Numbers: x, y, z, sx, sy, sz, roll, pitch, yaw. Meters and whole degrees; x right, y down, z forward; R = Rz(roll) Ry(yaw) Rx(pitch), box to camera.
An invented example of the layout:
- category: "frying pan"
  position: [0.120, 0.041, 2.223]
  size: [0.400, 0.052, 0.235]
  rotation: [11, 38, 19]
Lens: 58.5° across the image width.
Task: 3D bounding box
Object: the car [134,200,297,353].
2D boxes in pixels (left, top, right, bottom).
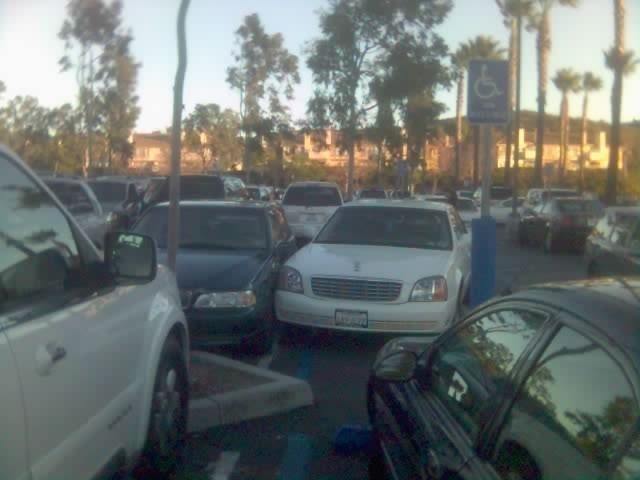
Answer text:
- category: "car"
  position: [-1.119, 0.233, 7.384]
  size: [1.043, 1.096, 2.847]
  rotation: [0, 3, 5]
